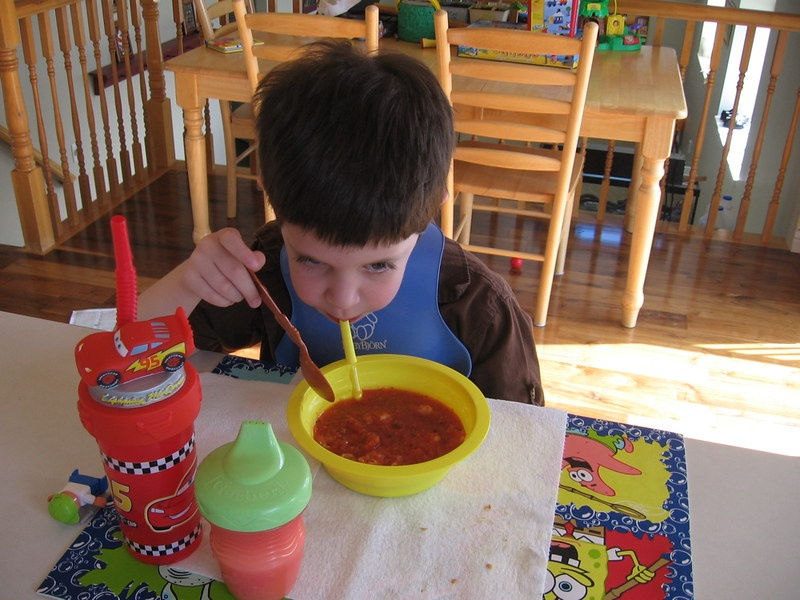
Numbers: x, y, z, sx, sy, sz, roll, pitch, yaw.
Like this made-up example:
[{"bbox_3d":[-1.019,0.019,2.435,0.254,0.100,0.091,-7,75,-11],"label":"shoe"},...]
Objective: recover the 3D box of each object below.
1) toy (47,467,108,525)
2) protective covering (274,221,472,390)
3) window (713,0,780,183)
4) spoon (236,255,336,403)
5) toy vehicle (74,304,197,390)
[{"bbox_3d":[-0.410,0.252,0.826,0.065,0.031,0.058,4,29,9],"label":"toy"},{"bbox_3d":[-0.010,0.082,1.400,0.494,0.456,0.263,-2,41,5],"label":"protective covering"},{"bbox_3d":[3.250,-2.018,6.189,0.381,1.559,1.323,14,30,21],"label":"window"},{"bbox_3d":[-0.187,0.047,1.076,0.042,0.255,0.044,-25,10,39],"label":"spoon"},{"bbox_3d":[-0.284,0.053,0.703,0.109,0.043,0.069,-17,53,-22],"label":"toy vehicle"}]
